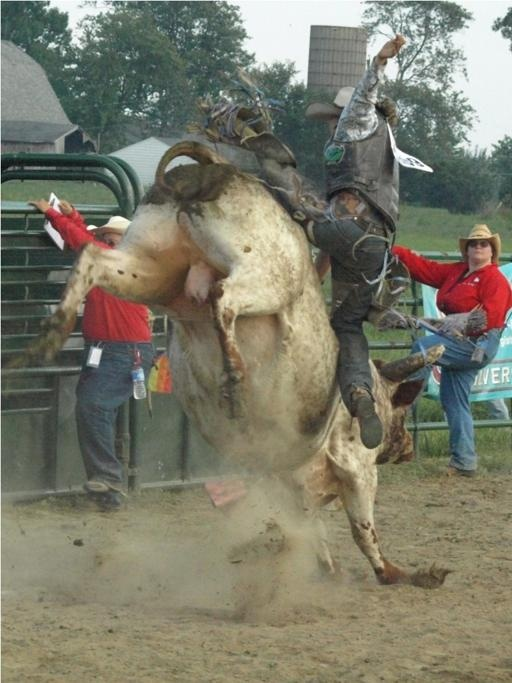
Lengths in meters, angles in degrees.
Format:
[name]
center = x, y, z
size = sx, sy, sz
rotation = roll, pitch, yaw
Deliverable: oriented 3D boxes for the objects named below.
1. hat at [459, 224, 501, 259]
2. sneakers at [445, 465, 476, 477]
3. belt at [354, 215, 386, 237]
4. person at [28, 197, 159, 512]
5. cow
[hat]
center = 1.767, -0.841, 9.874
size = 0.263, 0.147, 0.350
rotation = 0, -26, 13
[sneakers]
center = 1.630, 1.049, 10.215
size = 0.239, 0.100, 0.082
rotation = 15, 1, -6
[belt]
center = 0.646, -0.666, 7.223
size = 0.167, 0.047, 0.099
rotation = 21, 4, 24
[person]
center = -1.152, 0.086, 8.595
size = 0.575, 2.237, 1.330
rotation = 2, 15, 19
[cow]
center = -0.109, 0.213, 7.126
size = 1.882, 2.657, 0.826
rotation = -9, 16, -40
